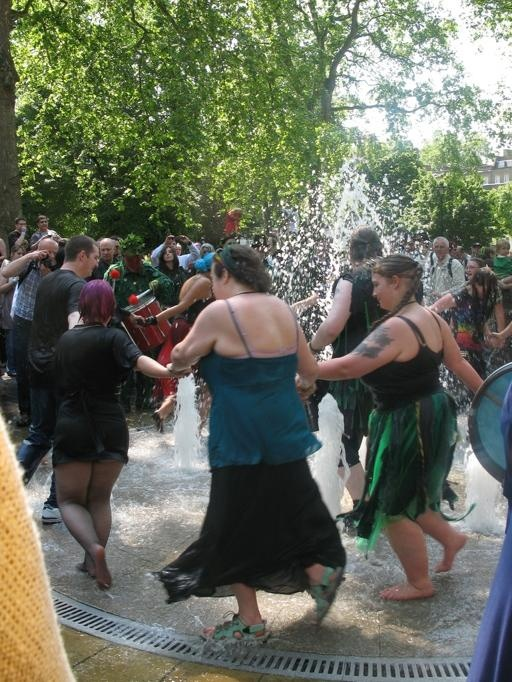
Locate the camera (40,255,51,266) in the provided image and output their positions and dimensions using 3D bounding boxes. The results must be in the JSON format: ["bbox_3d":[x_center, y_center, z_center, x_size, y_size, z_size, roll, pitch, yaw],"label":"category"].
[{"bbox_3d":[-1.965,-0.745,5.751,0.074,0.103,0.111,12,3,3],"label":"camera"}]

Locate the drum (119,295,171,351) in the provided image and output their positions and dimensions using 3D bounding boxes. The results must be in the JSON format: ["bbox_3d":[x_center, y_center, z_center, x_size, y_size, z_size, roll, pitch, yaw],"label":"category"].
[{"bbox_3d":[-1.209,-0.214,6.863,0.512,0.552,0.531,-1,13,-38],"label":"drum"}]

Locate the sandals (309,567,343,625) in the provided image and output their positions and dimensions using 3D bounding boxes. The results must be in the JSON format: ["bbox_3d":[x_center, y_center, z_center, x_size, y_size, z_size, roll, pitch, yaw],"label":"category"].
[{"bbox_3d":[0.306,1.095,2.708,0.144,0.213,0.042,-1,4,0],"label":"sandals"}]
